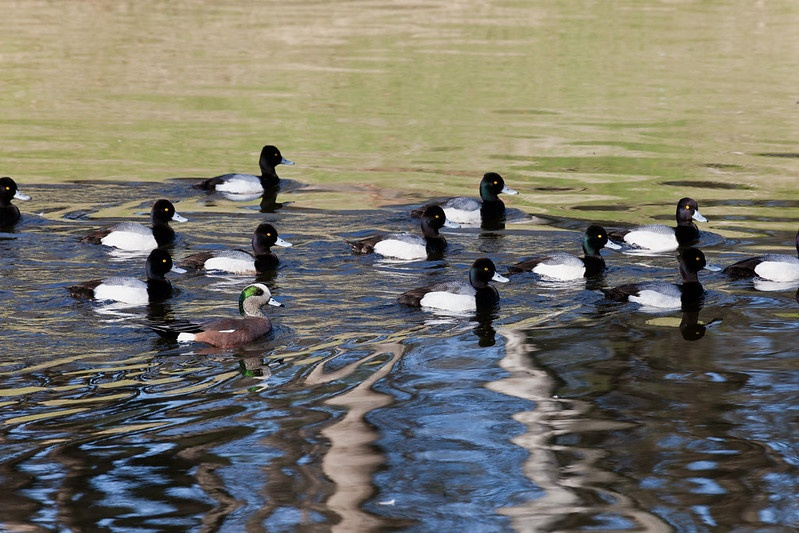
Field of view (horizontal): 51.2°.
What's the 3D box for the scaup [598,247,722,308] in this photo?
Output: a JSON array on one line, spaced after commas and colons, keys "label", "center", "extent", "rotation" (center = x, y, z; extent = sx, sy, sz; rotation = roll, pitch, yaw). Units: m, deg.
[{"label": "scaup", "center": [5.190, 0.154, 15.656], "extent": [2.958, 0.924, 1.687], "rotation": [-15, 20, -43]}]
